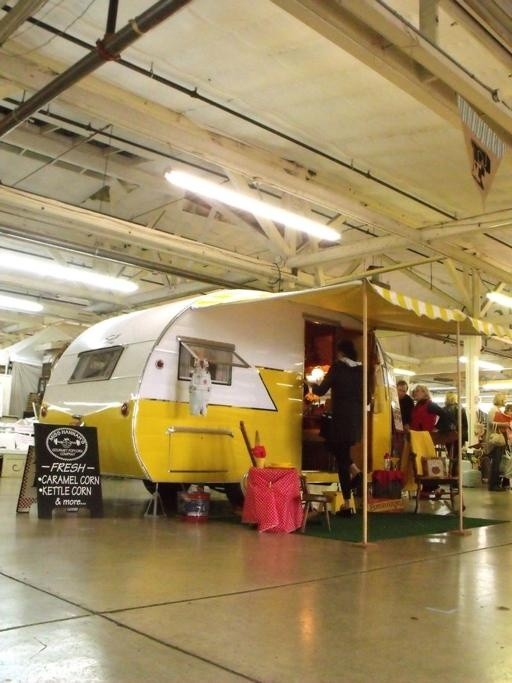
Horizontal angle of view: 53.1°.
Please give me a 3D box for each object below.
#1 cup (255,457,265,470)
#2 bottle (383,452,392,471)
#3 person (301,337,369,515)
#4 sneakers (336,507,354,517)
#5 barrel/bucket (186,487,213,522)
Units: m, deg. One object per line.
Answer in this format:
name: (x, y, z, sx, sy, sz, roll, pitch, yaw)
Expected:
cup: (0.035, 1.179, 4.977, 0.096, 0.089, 0.094, 1, -13, 0)
bottle: (1.803, 1.635, 7.038, 0.092, 0.212, 0.214, -3, -6, 28)
person: (0.934, 0.923, 5.489, 0.522, 1.890, 0.480, 1, -6, -12)
sneakers: (0.961, 1.842, 5.555, 0.083, 0.081, 0.216, 2, -5, -28)
barrel/bucket: (-0.609, 1.675, 5.281, 0.339, 0.305, 0.311, 1, -11, 0)
